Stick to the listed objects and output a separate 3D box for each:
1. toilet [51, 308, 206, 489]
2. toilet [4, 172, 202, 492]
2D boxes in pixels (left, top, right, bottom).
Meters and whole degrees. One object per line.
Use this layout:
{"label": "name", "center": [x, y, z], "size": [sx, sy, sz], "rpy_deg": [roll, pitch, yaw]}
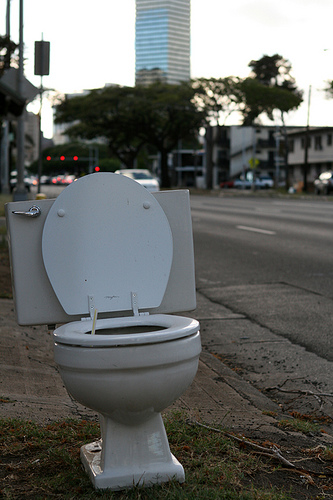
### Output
{"label": "toilet", "center": [-0.161, 0.664, 3.993], "size": [0.645, 0.718, 0.636], "rpy_deg": [-6, 7, -8]}
{"label": "toilet", "center": [-0.257, 0.334, 4.121], "size": [0.942, 1.385, 0.982], "rpy_deg": [-6, 7, -6]}
